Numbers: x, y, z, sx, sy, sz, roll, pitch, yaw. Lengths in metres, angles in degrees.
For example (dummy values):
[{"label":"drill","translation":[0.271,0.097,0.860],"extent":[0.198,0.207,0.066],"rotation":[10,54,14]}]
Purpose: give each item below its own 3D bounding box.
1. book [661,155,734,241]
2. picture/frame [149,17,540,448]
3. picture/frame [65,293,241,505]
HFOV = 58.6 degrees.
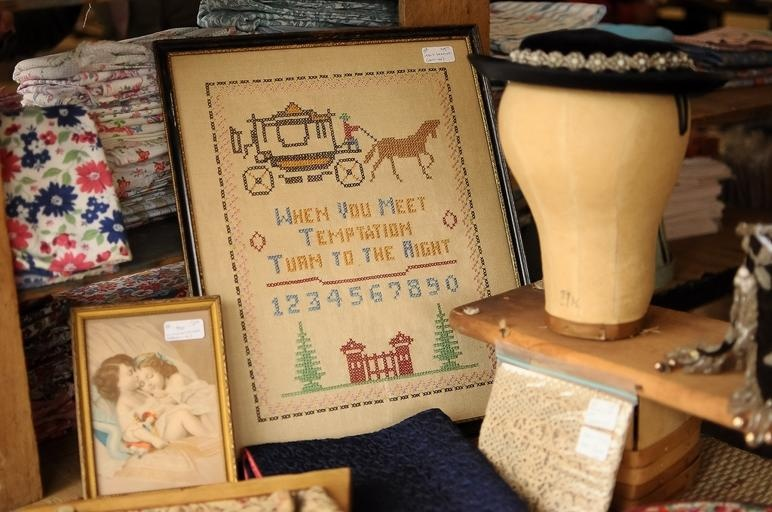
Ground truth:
[{"label":"book","translation":[1.209,-0.215,2.686],"extent":[0.327,0.299,0.076],"rotation":[1,3,-9]},{"label":"picture/frame","translation":[-0.124,-0.042,2.017],"extent":[0.980,1.131,0.041],"rotation":[-4,12,4]},{"label":"picture/frame","translation":[-0.602,0.386,1.815],"extent":[0.490,0.615,0.064],"rotation":[-9,-7,-8]}]
